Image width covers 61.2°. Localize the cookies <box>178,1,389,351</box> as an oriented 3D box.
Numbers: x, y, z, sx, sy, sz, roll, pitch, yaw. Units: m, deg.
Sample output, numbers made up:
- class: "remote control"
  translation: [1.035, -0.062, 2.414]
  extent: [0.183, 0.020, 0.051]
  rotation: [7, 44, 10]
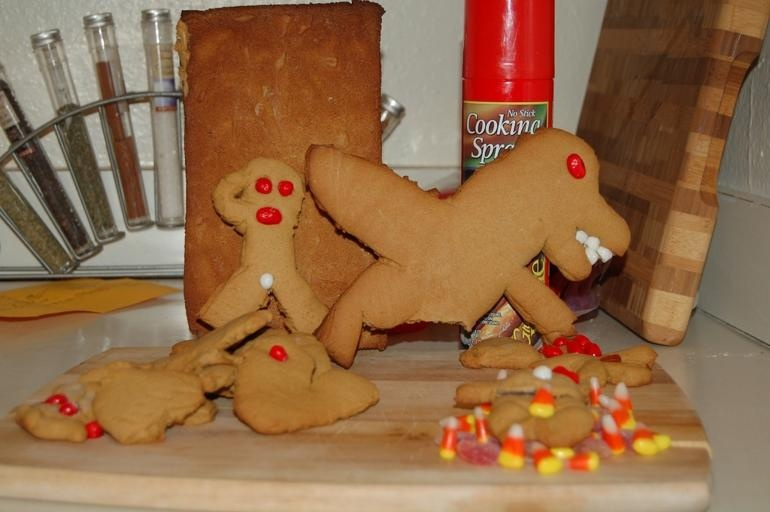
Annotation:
- class: "cookies"
  translation: [-0.162, -0.130, 0.846]
  extent: [0.316, 0.466, 0.116]
  rotation: [0, 2, -2]
